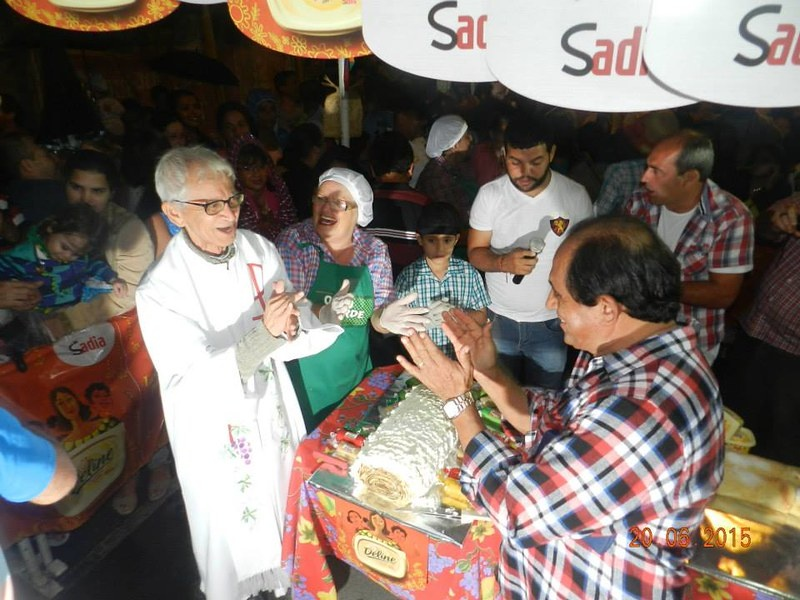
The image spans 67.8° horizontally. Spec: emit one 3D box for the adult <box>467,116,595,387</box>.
[{"bbox_3d":[1.007,0.091,4.672,0.976,2.935,0.987,4,29,18],"label":"adult"}]

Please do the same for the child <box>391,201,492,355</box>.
[{"bbox_3d":[0.295,-0.082,4.275,0.641,1.164,0.551,0,25,9],"label":"child"}]

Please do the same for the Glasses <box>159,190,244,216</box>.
[{"bbox_3d":[-1.040,-0.524,3.288,0.376,0.100,0.112,-16,31,-26],"label":"Glasses"}]

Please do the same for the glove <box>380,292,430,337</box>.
[{"bbox_3d":[0.022,0.092,3.704,0.281,0.203,0.079,3,-4,36],"label":"glove"}]

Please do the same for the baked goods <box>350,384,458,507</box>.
[{"bbox_3d":[0.042,0.778,3.267,0.500,0.255,0.775,4,21,22],"label":"baked goods"}]

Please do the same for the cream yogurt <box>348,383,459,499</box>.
[{"bbox_3d":[0.089,0.712,3.119,0.407,0.194,0.582,17,40,10],"label":"cream yogurt"}]
